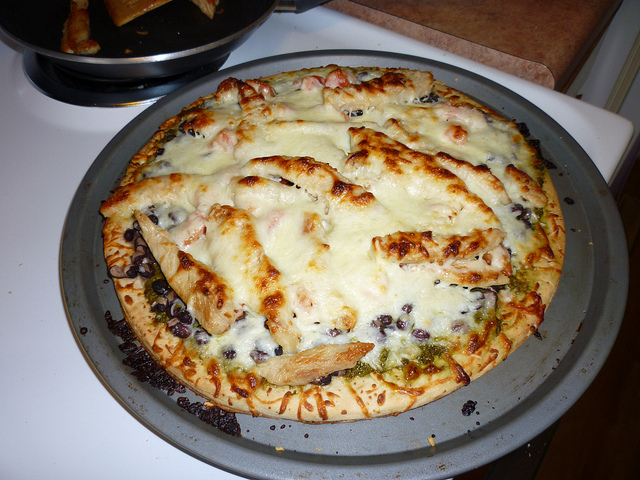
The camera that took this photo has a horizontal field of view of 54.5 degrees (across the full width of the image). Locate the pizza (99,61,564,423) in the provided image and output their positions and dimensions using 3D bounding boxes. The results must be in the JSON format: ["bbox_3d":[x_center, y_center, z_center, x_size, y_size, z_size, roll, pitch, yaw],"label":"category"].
[{"bbox_3d":[0.055,0.018,2.606,1.896,0.457,1.417,-6,82,-2],"label":"pizza"}]
